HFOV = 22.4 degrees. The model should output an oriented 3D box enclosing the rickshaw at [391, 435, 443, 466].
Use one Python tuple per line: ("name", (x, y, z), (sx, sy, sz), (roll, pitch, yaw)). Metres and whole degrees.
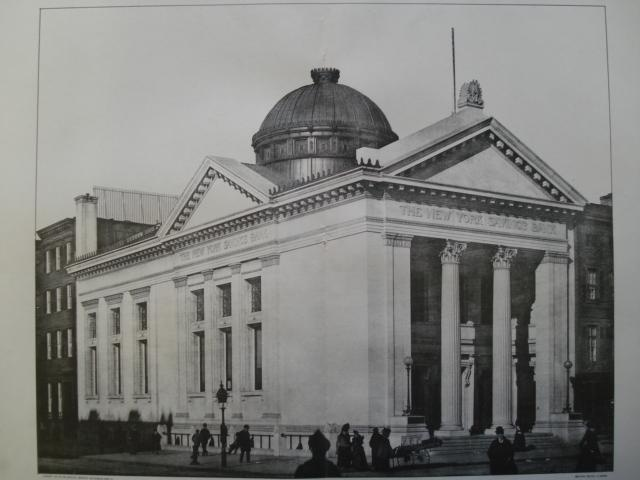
("rickshaw", (4.659, 9.815, 76.518), (2.329, 1.343, 0.770), (3, -17, -21))
